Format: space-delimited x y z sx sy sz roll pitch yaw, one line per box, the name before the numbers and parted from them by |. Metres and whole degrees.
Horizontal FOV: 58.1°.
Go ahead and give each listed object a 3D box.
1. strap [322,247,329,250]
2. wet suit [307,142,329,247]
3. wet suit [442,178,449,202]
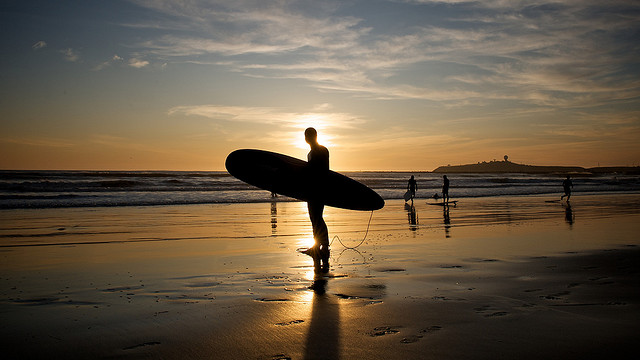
strap | 0.107 1.779 14.884 0.130 0.050 0.039 3 -6 -26
wet suit | -0.078 0.395 14.764 0.558 2.664 0.877 1 -7 0
wet suit | 6.705 0.518 31.030 0.244 1.258 1.009 -1 -6 15
